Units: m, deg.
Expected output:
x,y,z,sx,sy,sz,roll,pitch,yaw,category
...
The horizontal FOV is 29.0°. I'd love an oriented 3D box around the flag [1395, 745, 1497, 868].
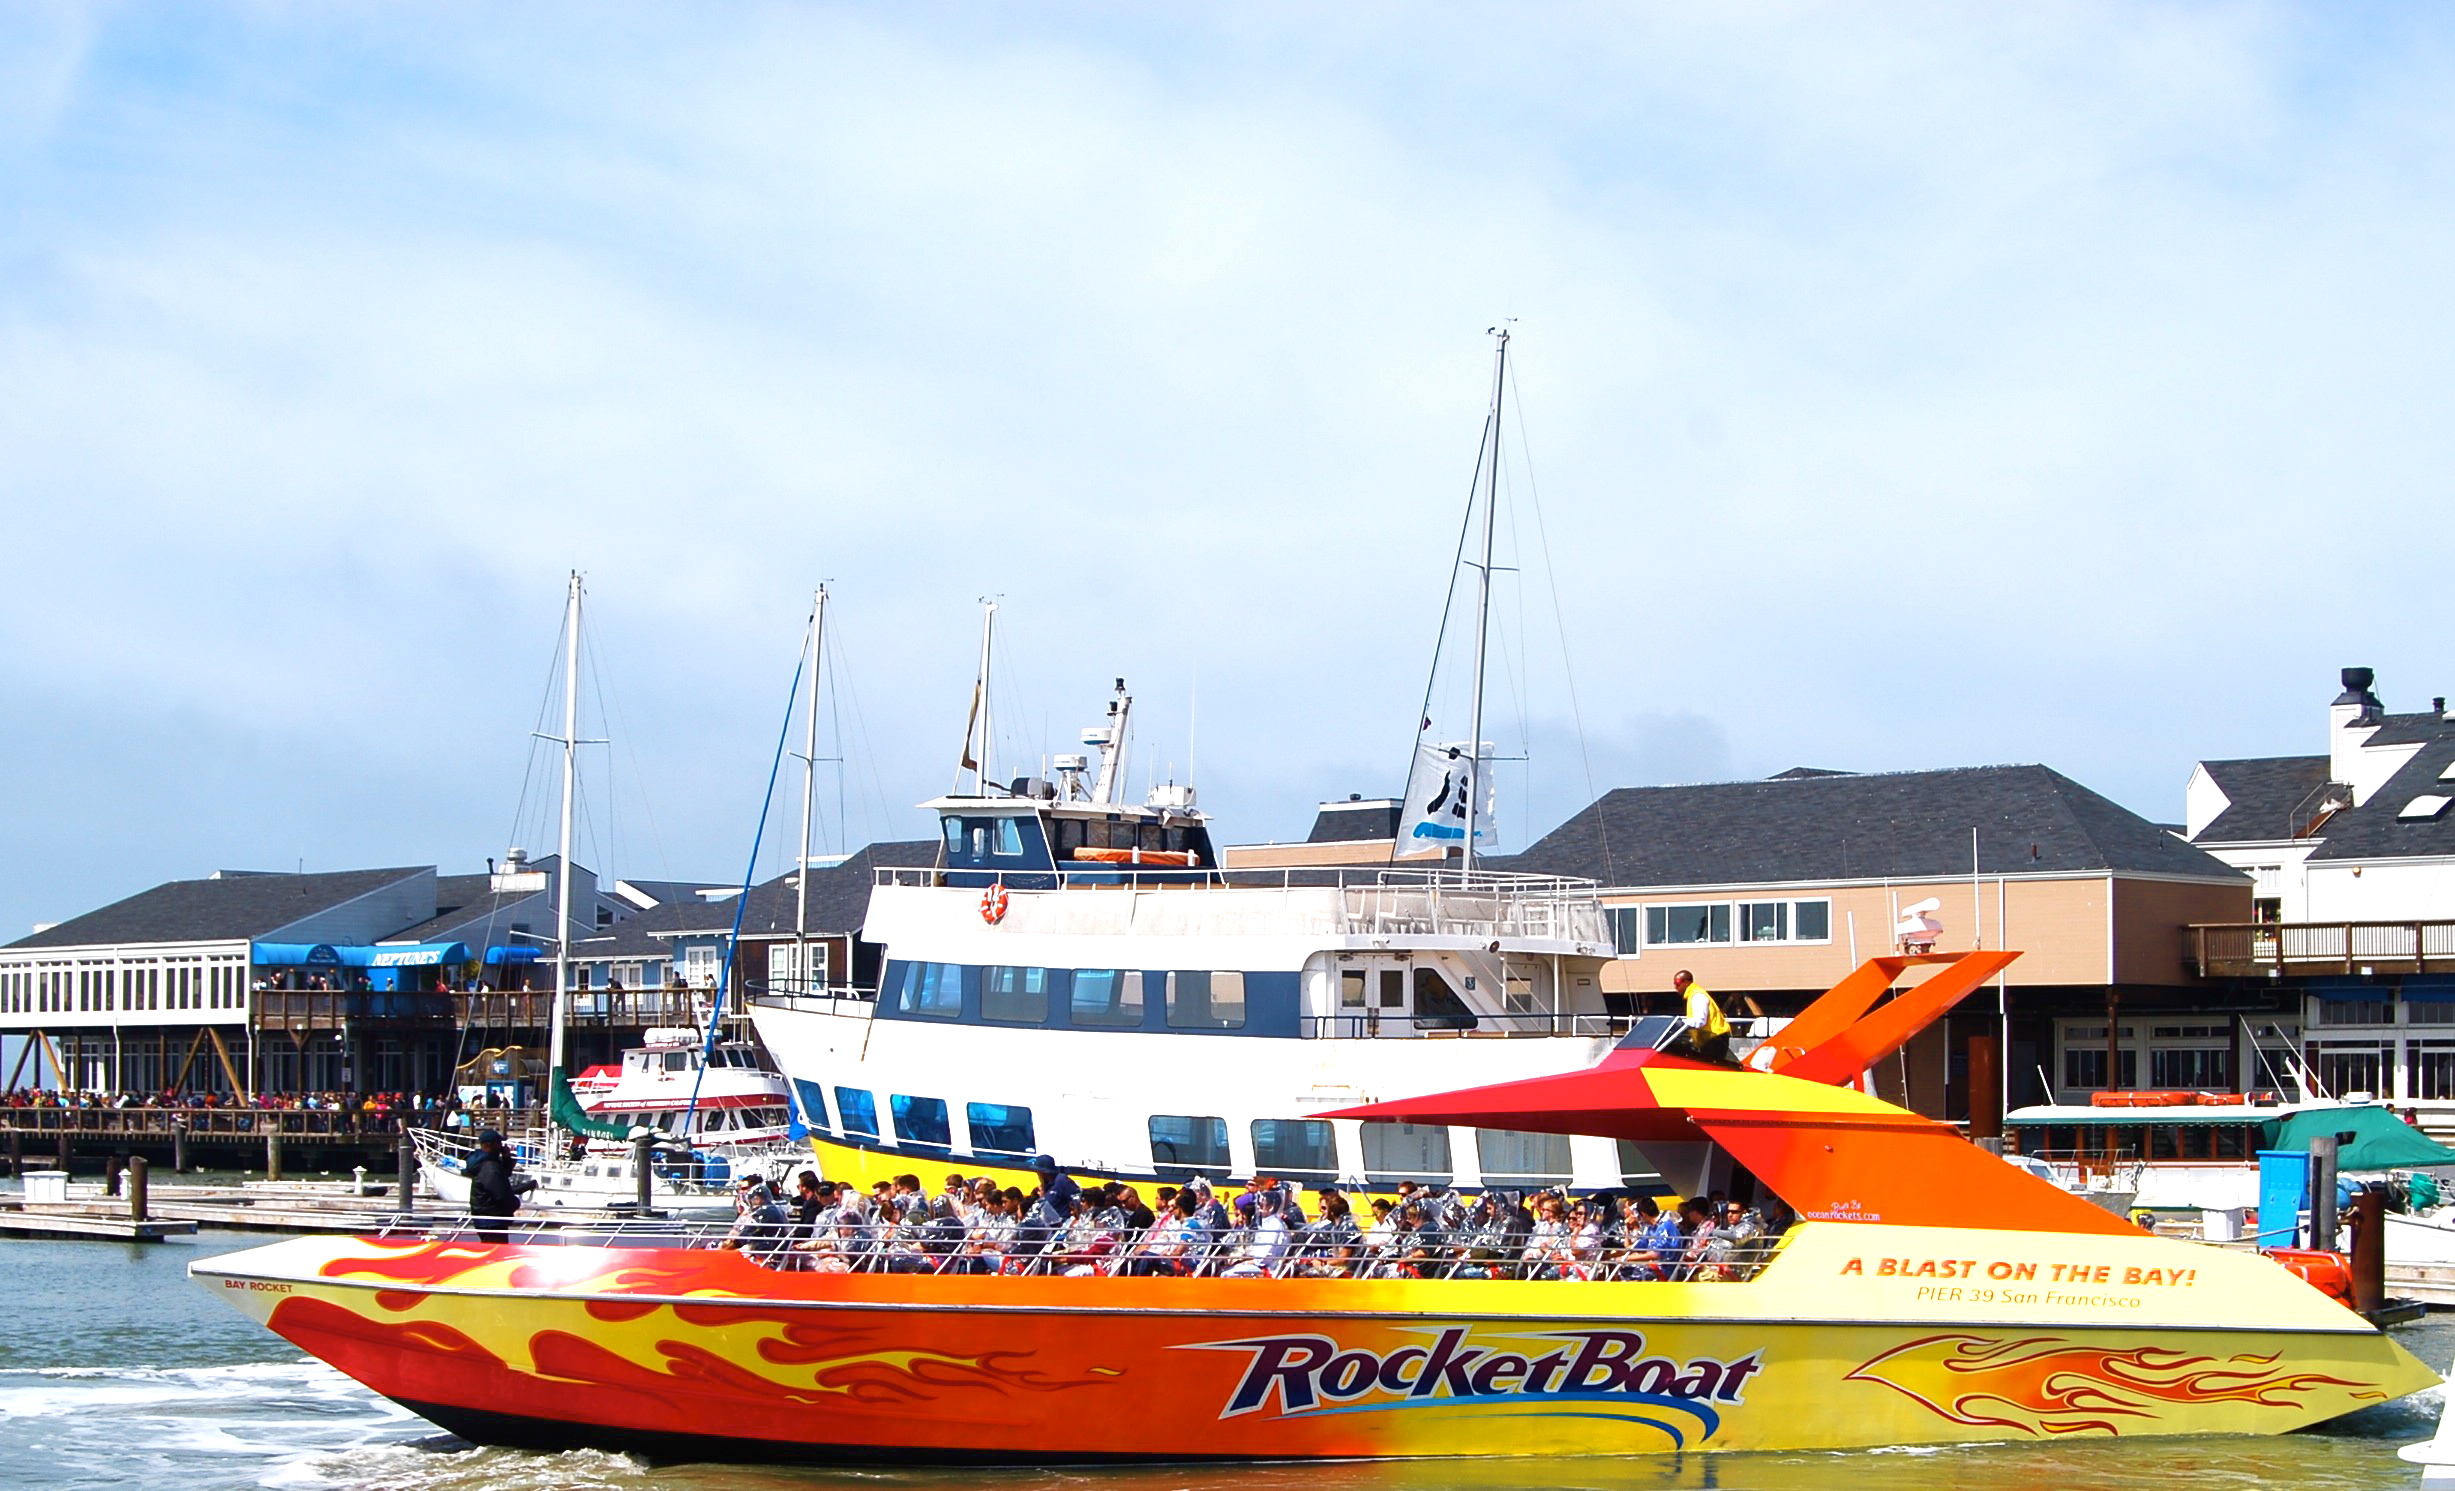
x,y,z,sx,sy,sz,roll,pitch,yaw,category
3.999,1.061,87.035,2.856,2.265,0.199,3,-9,-15,flag
